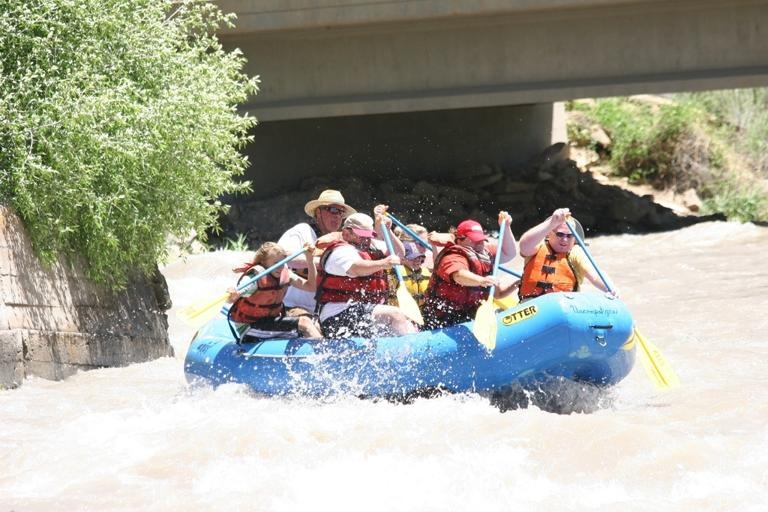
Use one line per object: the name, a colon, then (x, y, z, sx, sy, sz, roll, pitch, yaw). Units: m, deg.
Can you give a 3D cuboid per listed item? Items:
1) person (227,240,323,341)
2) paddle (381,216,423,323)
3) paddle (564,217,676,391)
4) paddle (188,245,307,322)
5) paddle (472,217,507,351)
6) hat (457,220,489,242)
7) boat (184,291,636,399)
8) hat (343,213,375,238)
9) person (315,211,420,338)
person: (-1.103, 0.513, 11.949, 1.328, 1.377, 0.934, 2, 15, 0)
paddle: (0.195, 0.204, 12.217, 0.184, 0.131, 1.589, -15, 49, -12)
paddle: (3.023, 0.644, 13.328, 0.361, 2.647, 0.232, -31, -21, 0)
paddle: (-1.696, 0.365, 12.911, 1.584, 0.107, 0.270, -30, 47, -3)
paddle: (1.193, 0.360, 11.573, 0.270, 0.079, 1.937, 7, 50, 10)
hat: (0.985, -0.283, 11.707, 0.302, 0.174, 0.210, 7, 7, 19)
boat: (0.500, 1.126, 11.653, 3.321, 0.687, 1.850, -3, -8, 11)
hat: (-0.276, -0.347, 11.806, 0.304, 0.166, 0.234, 12, 4, 34)
person: (-0.223, 0.373, 11.961, 1.177, 1.743, 0.978, -2, -2, 8)
